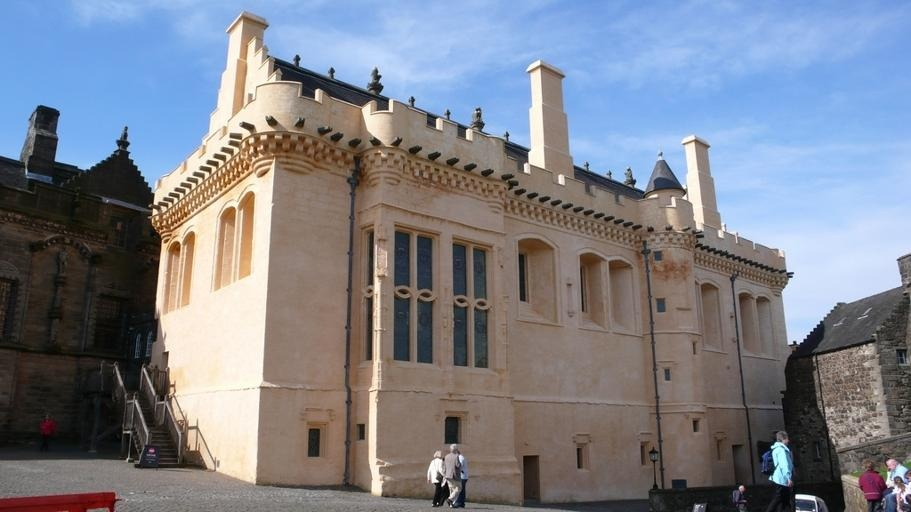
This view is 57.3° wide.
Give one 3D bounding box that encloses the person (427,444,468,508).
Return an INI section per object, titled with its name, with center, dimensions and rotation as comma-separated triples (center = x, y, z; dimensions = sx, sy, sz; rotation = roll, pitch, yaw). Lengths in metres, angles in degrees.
[person]
center = -0.398, 10.091, 38.376
dimensions = 1.636, 2.767, 0.991
rotation = -5, -22, 11
